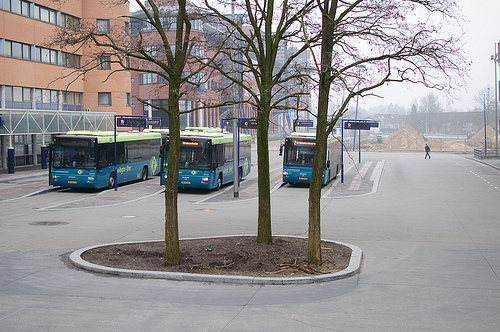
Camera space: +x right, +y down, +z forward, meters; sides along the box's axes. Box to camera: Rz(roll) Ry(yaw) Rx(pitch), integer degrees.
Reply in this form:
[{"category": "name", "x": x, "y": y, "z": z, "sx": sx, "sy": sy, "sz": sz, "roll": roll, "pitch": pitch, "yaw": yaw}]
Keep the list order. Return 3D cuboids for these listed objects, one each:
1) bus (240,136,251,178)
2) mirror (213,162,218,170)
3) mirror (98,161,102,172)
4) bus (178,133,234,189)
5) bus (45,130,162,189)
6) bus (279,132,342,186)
[{"category": "bus", "x": -0.369, "y": -0.705, "z": 41.333, "sx": 0.637, "sy": 2.730, "sz": 3.526, "roll": -1, "pitch": 4, "yaw": 1}, {"category": "mirror", "x": -2.015, "y": -0.026, "z": 34.467, "sx": 0.310, "sy": 0.590, "sz": 0.335, "roll": -1, "pitch": 4, "yaw": -3}, {"category": "mirror", "x": -8.401, "y": 0.014, "z": 33.324, "sx": 0.125, "sy": 0.613, "sz": 0.263, "roll": -1, "pitch": 4, "yaw": 2}, {"category": "bus", "x": -2.233, "y": -0.363, "z": 37.163, "sx": 2.031, "sy": 3.435, "sz": 7.691, "roll": 0, "pitch": 4, "yaw": 16}, {"category": "bus", "x": -8.779, "y": -0.584, "z": 38.066, "sx": 2.794, "sy": 3.268, "sz": 10.840, "roll": 2, "pitch": 4, "yaw": 12}, {"category": "bus", "x": 4.706, "y": -0.765, "z": 42.476, "sx": 2.983, "sy": 3.649, "sz": 11.234, "roll": 3, "pitch": 4, "yaw": 13}]
